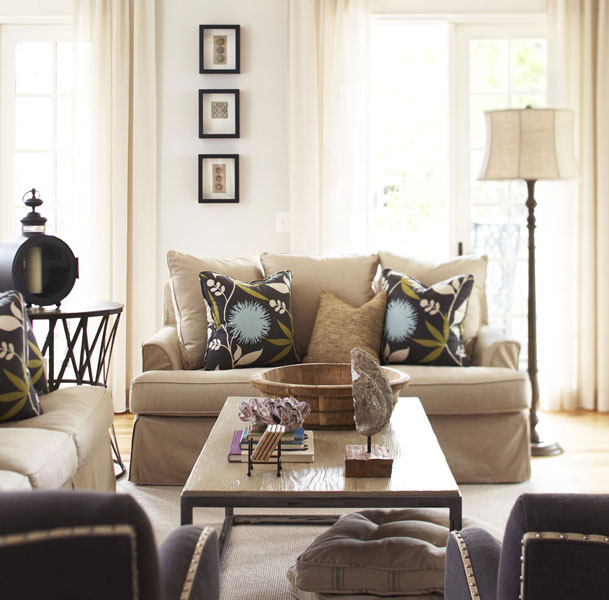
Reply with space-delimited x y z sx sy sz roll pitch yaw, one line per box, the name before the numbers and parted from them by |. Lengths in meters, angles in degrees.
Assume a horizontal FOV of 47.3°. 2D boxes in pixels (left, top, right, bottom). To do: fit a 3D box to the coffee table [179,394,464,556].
coffee table | 0.037 0.409 1.669 0.483 0.295 0.396 -1 7 -1
